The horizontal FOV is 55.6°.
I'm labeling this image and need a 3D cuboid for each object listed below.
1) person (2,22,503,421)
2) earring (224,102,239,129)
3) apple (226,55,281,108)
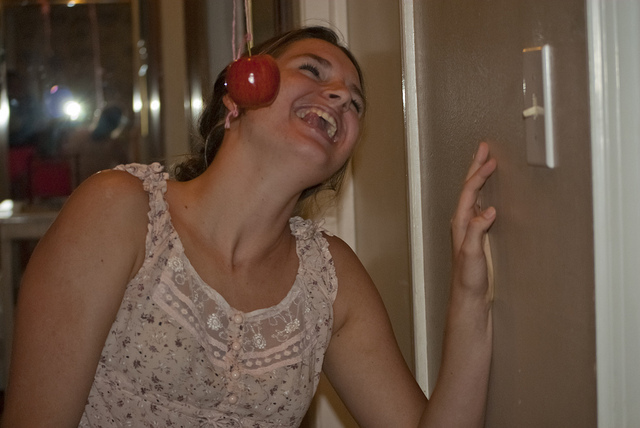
[{"bbox_3d":[-0.137,0.019,1.481,1.078,1.004,0.378,1,2,-4],"label":"person"},{"bbox_3d":[-0.207,-0.230,1.425,0.014,0.072,0.018,23,-10,-39],"label":"earring"},{"bbox_3d":[-0.143,-0.286,1.311,0.092,0.105,0.104,-3,15,-2],"label":"apple"}]
